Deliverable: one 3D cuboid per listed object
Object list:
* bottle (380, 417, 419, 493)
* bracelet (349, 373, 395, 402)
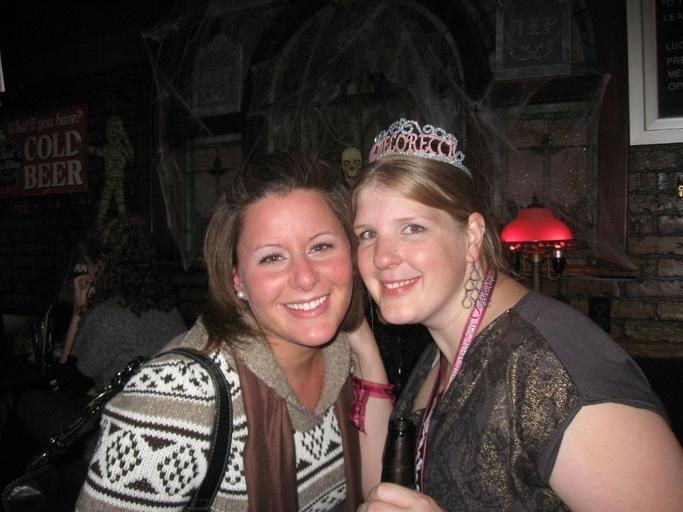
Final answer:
[{"bbox_3d":[0.320,1.049,3.164,0.215,0.383,0.153,0,-1,-14],"label":"bottle"},{"bbox_3d":[0.193,0.843,3.784,0.174,0.093,0.143,0,-11,35],"label":"bracelet"}]
